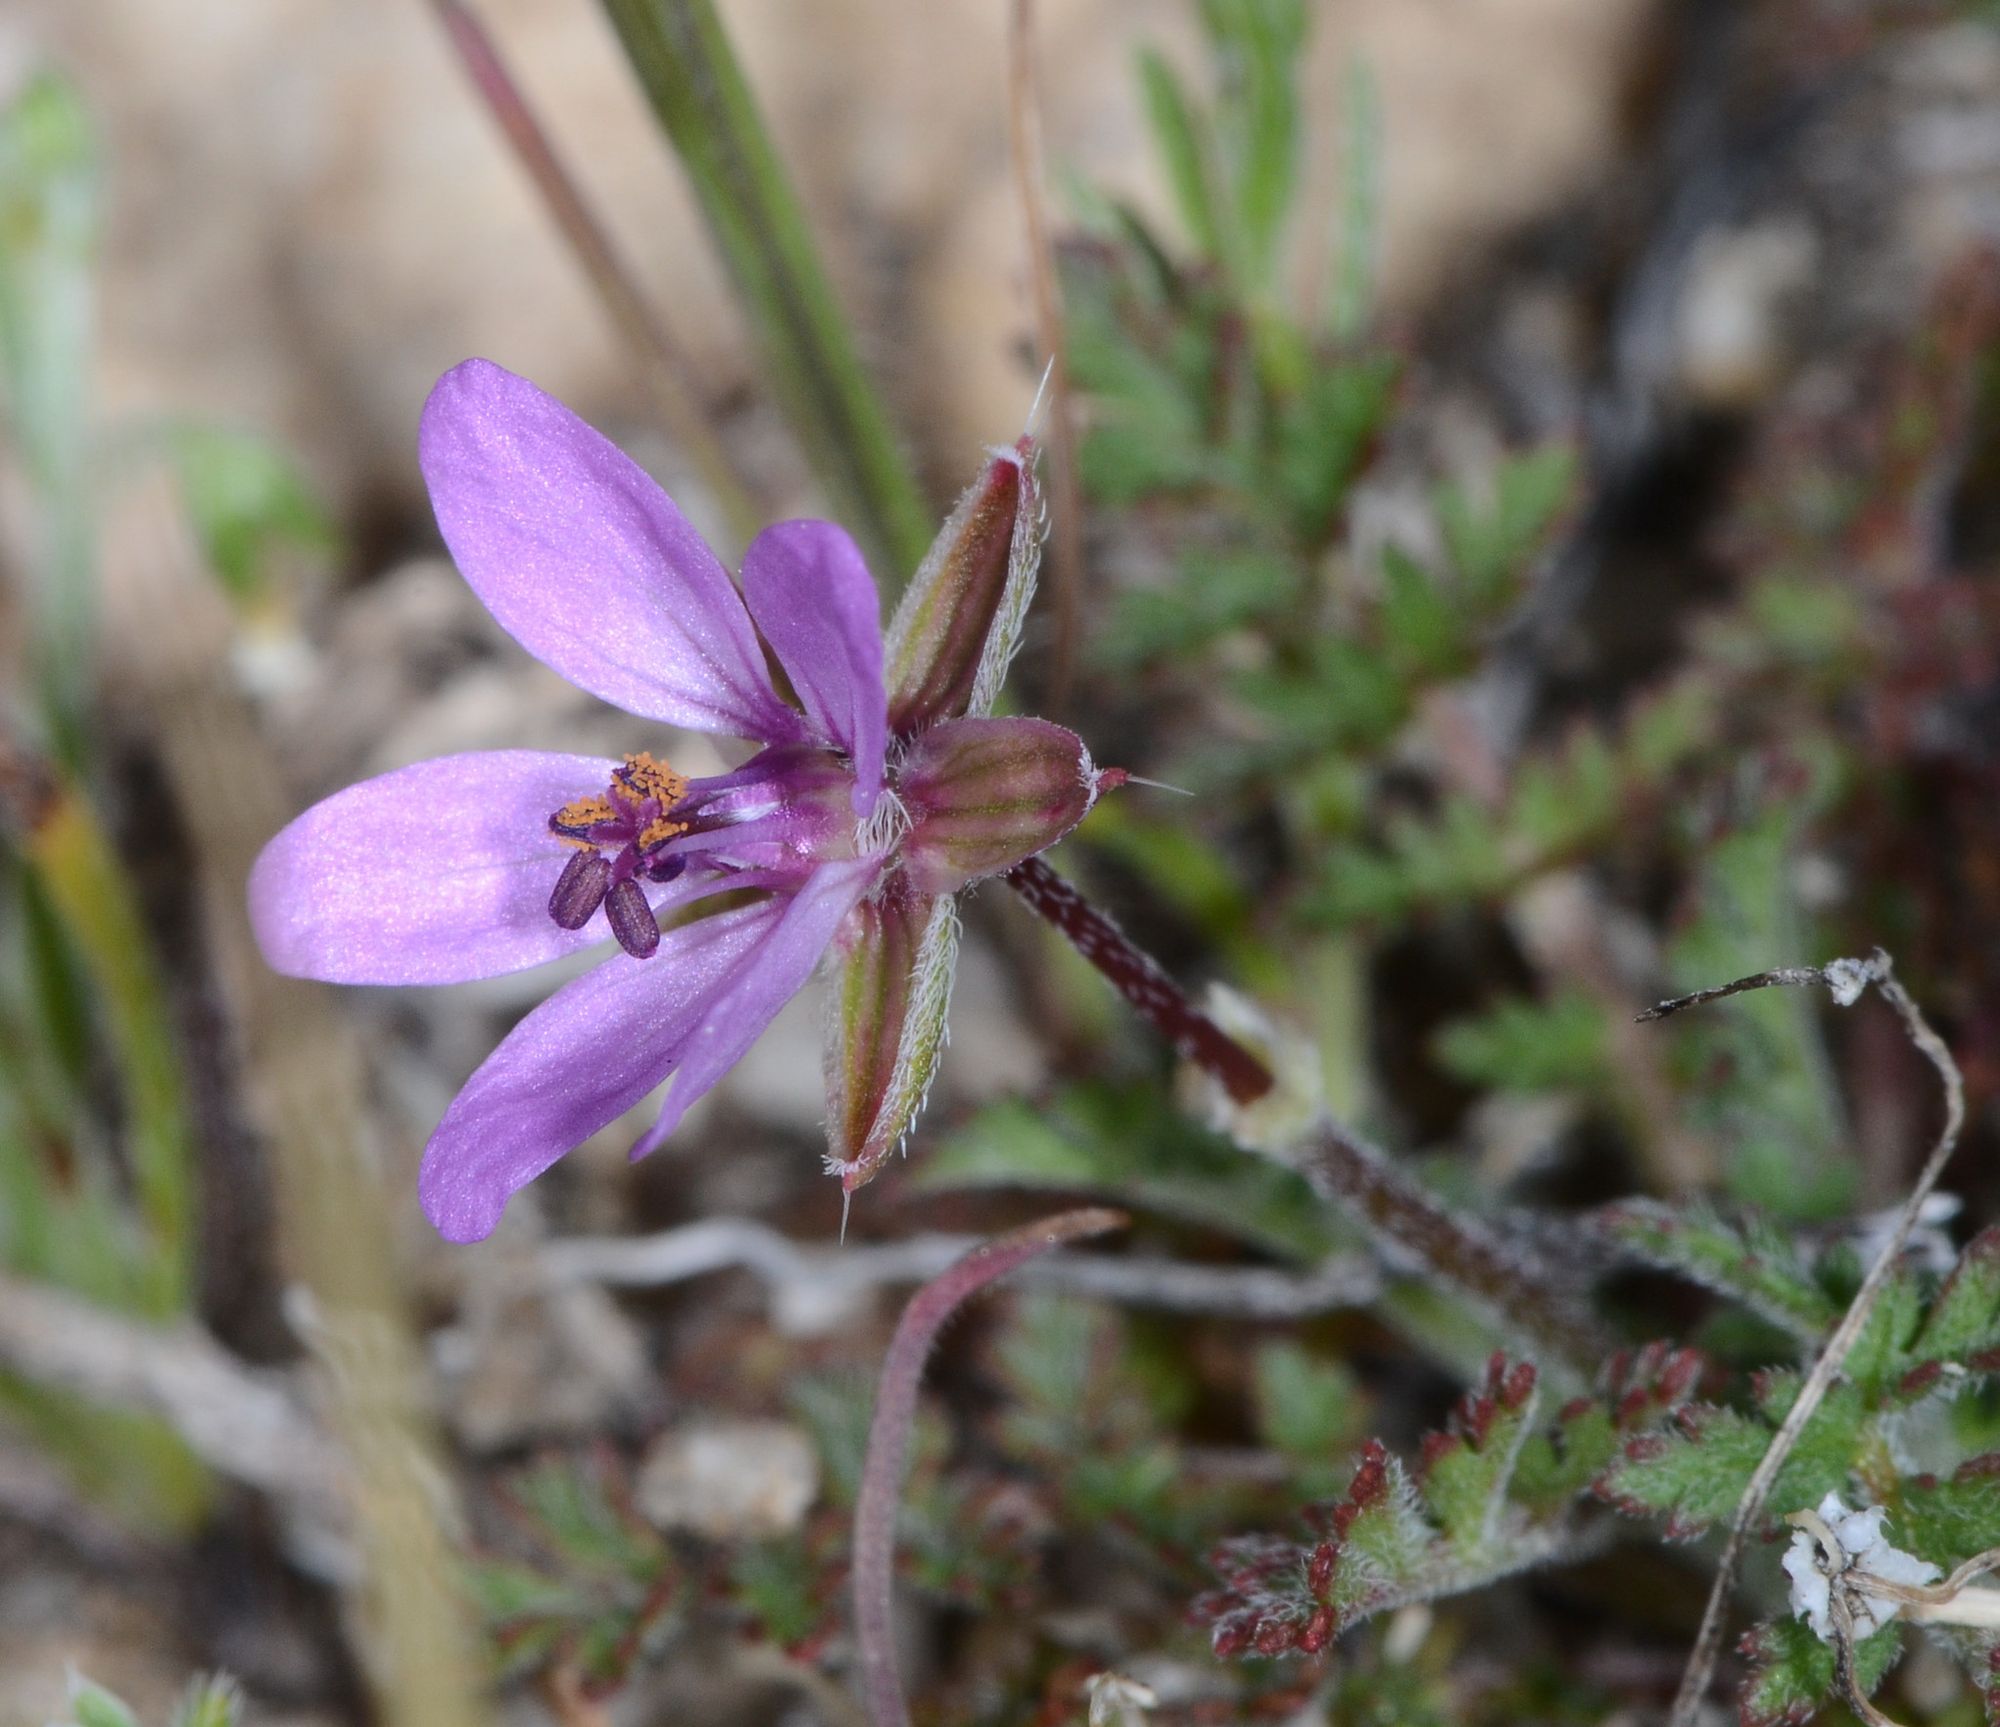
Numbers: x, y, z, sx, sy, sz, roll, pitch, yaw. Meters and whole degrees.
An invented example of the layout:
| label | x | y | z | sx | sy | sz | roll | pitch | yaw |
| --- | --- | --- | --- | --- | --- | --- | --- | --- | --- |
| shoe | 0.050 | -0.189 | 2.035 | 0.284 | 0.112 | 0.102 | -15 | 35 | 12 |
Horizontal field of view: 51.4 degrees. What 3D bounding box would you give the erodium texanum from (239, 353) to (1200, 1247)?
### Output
| label | x | y | z | sx | sy | sz | roll | pitch | yaw |
| --- | --- | --- | --- | --- | --- | --- | --- | --- | --- |
| erodium texanum | -0.297 | -0.062 | 1.942 | 0.823 | 0.367 | 0.786 | 8 | 80 | 32 |
